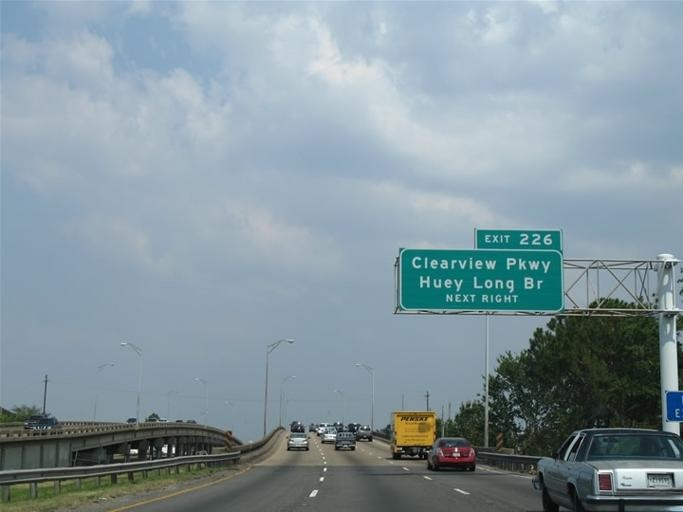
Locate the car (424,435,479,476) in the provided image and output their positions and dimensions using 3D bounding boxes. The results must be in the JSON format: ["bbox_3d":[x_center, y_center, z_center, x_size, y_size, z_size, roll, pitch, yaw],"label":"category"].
[{"bbox_3d":[5.764,10.460,50.836,1.456,1.636,3.919,0,-11,1],"label":"car"}]
